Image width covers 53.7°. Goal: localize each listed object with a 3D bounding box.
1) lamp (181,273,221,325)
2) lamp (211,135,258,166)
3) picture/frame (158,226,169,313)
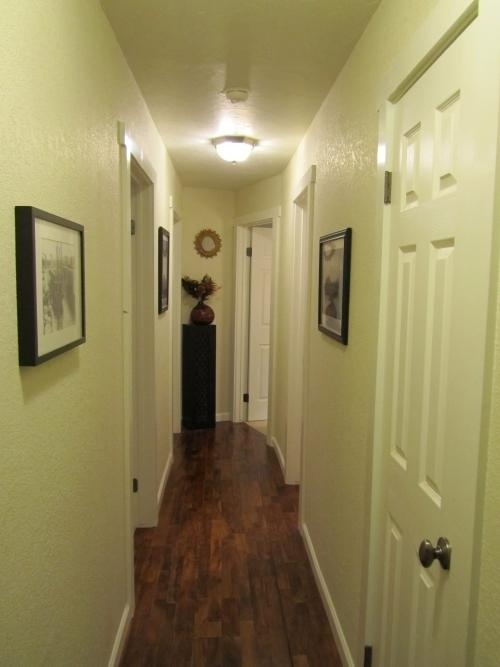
[{"bbox_3d":[-0.505,-0.325,4.768,0.324,0.467,0.250,2,5,13],"label":"lamp"},{"bbox_3d":[-0.099,-1.152,3.101,0.307,0.102,0.307,1,5,0],"label":"lamp"},{"bbox_3d":[-0.557,-0.414,3.265,0.019,0.552,0.569,1,6,-16],"label":"picture/frame"}]
